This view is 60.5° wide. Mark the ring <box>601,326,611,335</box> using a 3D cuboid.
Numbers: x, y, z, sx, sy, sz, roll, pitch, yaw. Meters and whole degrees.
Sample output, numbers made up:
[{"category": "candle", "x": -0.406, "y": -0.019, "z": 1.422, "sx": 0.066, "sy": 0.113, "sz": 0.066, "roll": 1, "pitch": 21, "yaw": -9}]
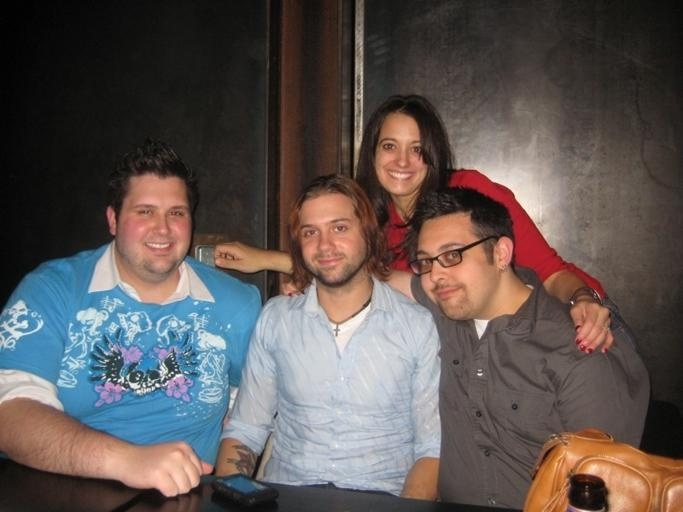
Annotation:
[{"category": "ring", "x": 1.075, "y": 0.302, "z": 2.393, "sx": 0.036, "sy": 0.043, "sz": 0.015, "roll": 19, "pitch": -34, "yaw": -16}]

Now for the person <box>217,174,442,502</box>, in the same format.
[{"category": "person", "x": -0.043, "y": 0.486, "z": 2.540, "sx": 0.995, "sy": 1.584, "sz": 0.901, "roll": 2, "pitch": 10, "yaw": 16}]

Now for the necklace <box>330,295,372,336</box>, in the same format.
[{"category": "necklace", "x": 0.047, "y": 0.287, "z": 2.729, "sx": 0.120, "sy": 0.207, "sz": 0.030, "roll": 33, "pitch": -24, "yaw": 42}]

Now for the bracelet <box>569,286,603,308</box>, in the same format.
[{"category": "bracelet", "x": 1.052, "y": 0.169, "z": 2.531, "sx": 0.114, "sy": 0.077, "sz": 0.122, "roll": -6, "pitch": -42, "yaw": 34}]
